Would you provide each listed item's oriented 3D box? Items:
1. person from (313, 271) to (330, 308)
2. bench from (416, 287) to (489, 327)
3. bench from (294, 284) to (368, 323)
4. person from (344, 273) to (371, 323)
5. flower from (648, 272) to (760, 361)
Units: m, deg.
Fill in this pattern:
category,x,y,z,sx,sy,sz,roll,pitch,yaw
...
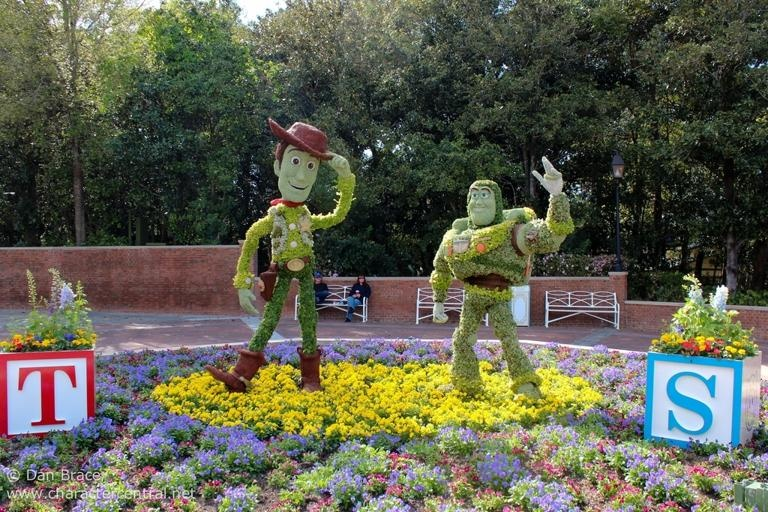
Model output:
category,x,y,z,sx,sy,sz,roll,pitch,yaw
person,-1.743,0.968,22.276,0.368,0.958,0.834,-1,2,1
bench,1.553,1.376,21.731,1.324,0.975,1.042,-1,2,2
bench,-1.260,1.196,20.107,1.271,0.724,0.462,0,-3,17
person,-0.753,1.186,22.077,0.490,1.237,0.844,1,3,39
flower,5.315,1.039,12.834,0.947,1.393,1.356,-17,11,-28
